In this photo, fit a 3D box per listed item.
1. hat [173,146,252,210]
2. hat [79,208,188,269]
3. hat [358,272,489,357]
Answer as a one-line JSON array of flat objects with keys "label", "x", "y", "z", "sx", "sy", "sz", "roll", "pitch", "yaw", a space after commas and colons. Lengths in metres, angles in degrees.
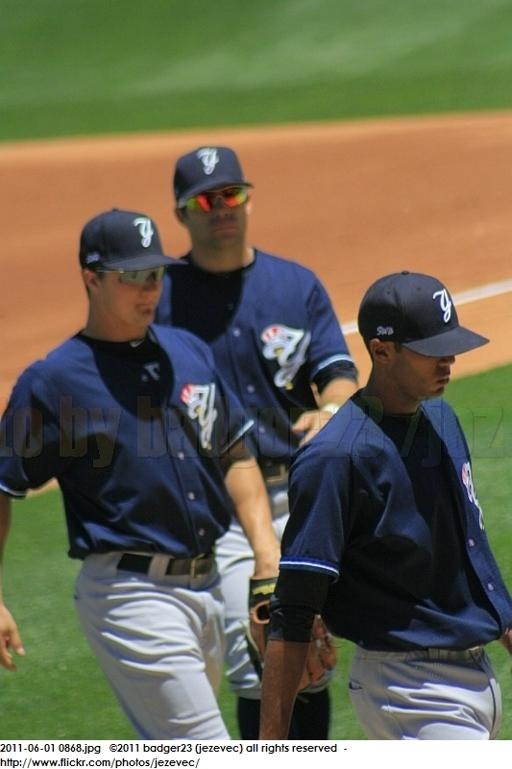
[{"label": "hat", "x": -0.196, "y": -0.855, "z": 4.111, "sx": 0.283, "sy": 0.141, "sz": 0.306, "roll": -11, "pitch": 7, "yaw": -1}, {"label": "hat", "x": -0.408, "y": -0.469, "z": 3.247, "sx": 0.316, "sy": 0.134, "sz": 0.213, "roll": 4, "pitch": 10, "yaw": 30}, {"label": "hat", "x": 0.429, "y": -0.200, "z": 2.760, "sx": 0.368, "sy": 0.162, "sz": 0.221, "roll": 13, "pitch": 25, "yaw": 26}]
